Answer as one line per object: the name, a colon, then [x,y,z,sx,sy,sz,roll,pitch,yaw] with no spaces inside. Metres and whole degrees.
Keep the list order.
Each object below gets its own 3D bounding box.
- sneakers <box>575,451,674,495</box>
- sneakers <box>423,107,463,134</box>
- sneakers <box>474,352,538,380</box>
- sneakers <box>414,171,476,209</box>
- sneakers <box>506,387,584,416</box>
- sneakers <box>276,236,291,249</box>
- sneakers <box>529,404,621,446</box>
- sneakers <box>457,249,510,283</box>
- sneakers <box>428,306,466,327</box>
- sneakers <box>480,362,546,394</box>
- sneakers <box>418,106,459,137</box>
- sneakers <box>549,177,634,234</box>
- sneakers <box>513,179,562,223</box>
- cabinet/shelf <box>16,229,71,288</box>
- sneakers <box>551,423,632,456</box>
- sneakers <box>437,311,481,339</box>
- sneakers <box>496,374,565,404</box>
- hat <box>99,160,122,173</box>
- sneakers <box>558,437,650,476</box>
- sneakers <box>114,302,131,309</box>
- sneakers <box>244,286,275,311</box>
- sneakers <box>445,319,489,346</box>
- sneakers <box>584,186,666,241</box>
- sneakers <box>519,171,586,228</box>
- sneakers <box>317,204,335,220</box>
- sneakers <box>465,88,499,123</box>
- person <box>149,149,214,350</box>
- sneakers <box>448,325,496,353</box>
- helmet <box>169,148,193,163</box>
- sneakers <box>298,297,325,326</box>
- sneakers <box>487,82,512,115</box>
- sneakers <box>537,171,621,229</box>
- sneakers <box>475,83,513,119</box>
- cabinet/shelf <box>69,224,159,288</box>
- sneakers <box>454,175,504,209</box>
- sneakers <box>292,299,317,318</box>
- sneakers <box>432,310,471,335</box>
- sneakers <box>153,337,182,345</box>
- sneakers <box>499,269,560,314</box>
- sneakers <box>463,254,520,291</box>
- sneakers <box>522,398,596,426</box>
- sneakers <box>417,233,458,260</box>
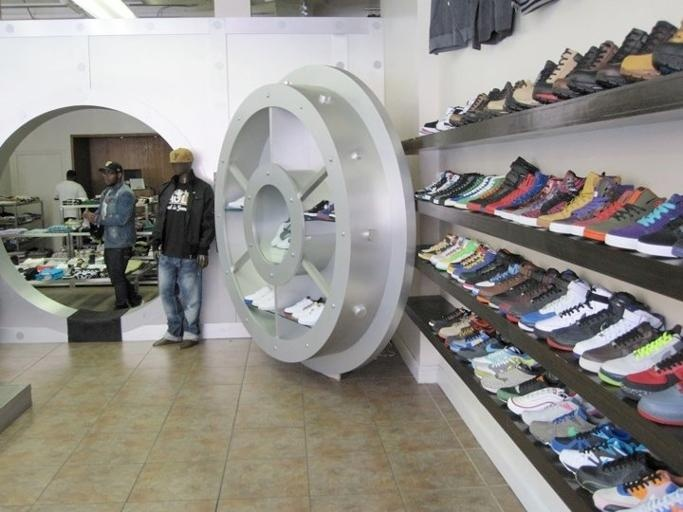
sneakers: [1.001,0.781,1.641,0.334,0.139,0.117,-7,29,11]
sneakers: [0.722,-0.969,3.180,0.143,0.178,0.429,-9,12,-23]
sneakers: [0.898,0.600,2.553,0.395,0.165,0.137,-8,7,36]
sneakers: [0.744,-0.477,3.100,0.299,0.110,0.244,-15,14,11]
sneakers: [0.955,0.681,2.081,0.299,0.125,0.111,-10,13,18]
sneakers: [-0.487,-0.107,3.793,0.094,0.090,0.217,-8,13,-34]
sneakers: [1.000,0.737,1.931,0.343,0.152,0.124,-9,10,9]
sneakers: [0.862,0.094,2.744,0.358,0.152,0.131,-26,24,47]
sneakers: [0.779,0.442,3.226,0.106,0.124,0.311,3,-3,-44]
sneakers: [0.889,0.651,2.396,0.369,0.147,0.137,-8,4,6]
sneakers: [0.726,-0.966,3.209,0.159,0.194,0.470,-5,11,-18]
sneakers: [1.056,-0.234,1.841,0.441,0.212,0.148,-25,24,-20]
sneakers: [0.962,-0.271,2.169,0.399,0.177,0.128,-26,29,-36]
cabinet/shelf: [-4.934,0.050,7.298,0.489,0.460,0.907,-4,16,-20]
sneakers: [0.995,0.733,1.825,0.312,0.131,0.115,-9,1,23]
sneakers: [0.818,0.480,3.035,0.333,0.137,0.121,-12,6,23]
sneakers: [0.935,0.658,2.280,0.348,0.143,0.118,-8,-1,5]
hat: [-2.814,-1.072,5.401,0.162,0.121,0.225,-10,15,-42]
sneakers: [0.983,0.759,1.728,0.335,0.139,0.123,-7,6,13]
sneakers: [-2.989,0.676,6.019,0.144,0.073,0.218,-8,-5,9]
sneakers: [-0.748,0.394,4.086,0.267,0.099,0.198,2,18,-26]
sneakers: [0.854,0.502,2.959,0.349,0.144,0.122,-15,6,9]
sneakers: [1.040,-0.148,1.613,0.272,0.120,0.092,-25,23,1]
sneakers: [0.980,-0.255,2.045,0.331,0.153,0.113,-33,29,2]
sneakers: [-0.120,-0.329,3.387,0.129,0.137,0.361,-1,11,-3]
sneakers: [0.842,-0.895,2.648,0.350,0.150,0.115,-21,18,-39]
person: [-1.677,-0.082,4.666,0.693,2.040,0.413,-2,10,-7]
sneakers: [0.837,0.538,2.878,0.305,0.125,0.107,-10,9,21]
helmet: [-1.684,-1.047,4.639,0.226,0.161,0.241,-3,11,-11]
sneakers: [-0.220,0.477,3.613,0.200,0.156,0.212,-9,14,-38]
sneakers: [0.869,-0.847,2.398,0.110,0.145,0.337,4,15,21]
sneakers: [1.020,-0.231,1.884,0.340,0.159,0.110,-31,19,7]
sneakers: [0.839,-0.848,2.458,0.122,0.163,0.370,10,26,36]
cabinet/shelf: [-3.367,0.018,6.564,0.959,0.772,0.514,0,15,5]
sneakers: [0.833,-0.374,2.647,0.308,0.126,0.107,-30,36,23]
sneakers: [-0.318,0.426,3.702,0.128,0.054,0.178,30,66,33]
sneakers: [0.793,0.478,3.135,0.206,0.074,0.155,-12,9,-11]
sneakers: [-1.879,0.922,4.798,0.297,0.131,0.098,2,13,-15]
sneakers: [0.956,0.186,2.230,0.241,0.099,0.085,-29,29,21]
sneakers: [0.904,0.098,2.606,0.400,0.183,0.141,-13,19,27]
sneakers: [0.946,0.691,2.035,0.354,0.148,0.122,-4,-3,8]
sneakers: [0.723,-0.057,3.420,0.364,0.162,0.135,-21,13,41]
